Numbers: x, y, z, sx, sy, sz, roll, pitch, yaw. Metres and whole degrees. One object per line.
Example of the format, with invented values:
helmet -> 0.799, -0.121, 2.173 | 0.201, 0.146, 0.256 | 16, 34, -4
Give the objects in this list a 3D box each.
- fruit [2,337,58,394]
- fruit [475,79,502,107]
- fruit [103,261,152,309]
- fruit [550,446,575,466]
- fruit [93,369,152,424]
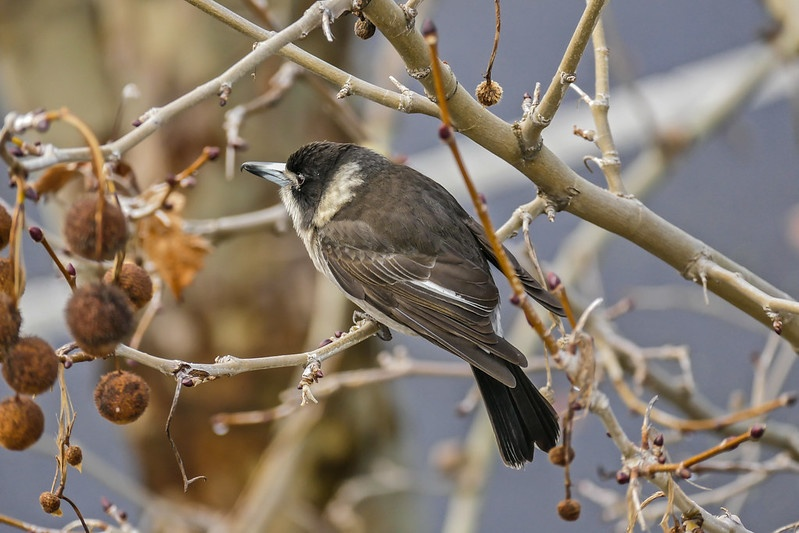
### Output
fruit -> -1.422, 0.388, 3.941 | 0.215, 0.229, 0.177 | 2, -5, -27
fruit -> 0.403, -0.767, 4.631 | 0.109, 0.119, 0.144 | -9, -33, -2
fruit -> -1.099, 0.087, 4.329 | 0.145, 0.163, 0.192 | 11, -20, -6
fruit -> 0.673, 0.789, 4.249 | 0.084, 0.061, 0.099 | -4, -4, 14
fruit -> -1.172, 0.539, 4.268 | 0.208, 0.208, 0.194 | -5, -1, 12
